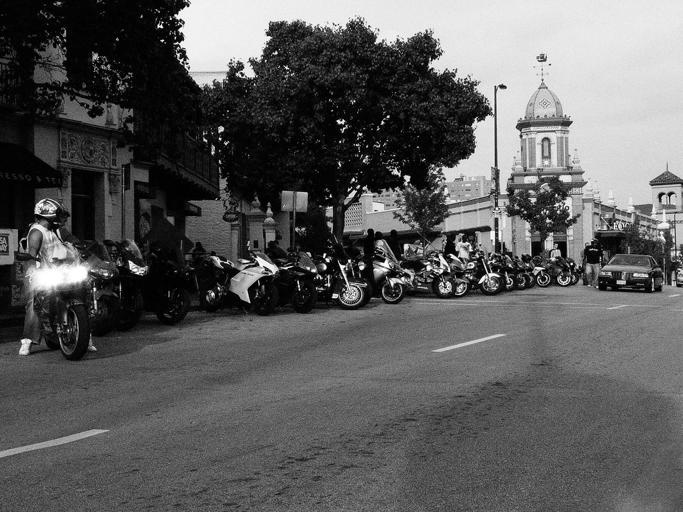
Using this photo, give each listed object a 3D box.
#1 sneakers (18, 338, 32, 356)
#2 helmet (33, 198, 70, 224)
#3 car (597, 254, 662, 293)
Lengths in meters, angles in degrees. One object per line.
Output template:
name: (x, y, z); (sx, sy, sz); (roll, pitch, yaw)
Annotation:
sneakers: (-4.377, 1.271, 10.738); (0.135, 0.189, 0.257); (2, -8, -22)
helmet: (-3.991, -0.636, 10.671); (0.415, 0.385, 0.332); (-8, 14, -26)
car: (10.701, 0.660, 29.011); (1.898, 1.347, 2.723); (2, 2, 39)
